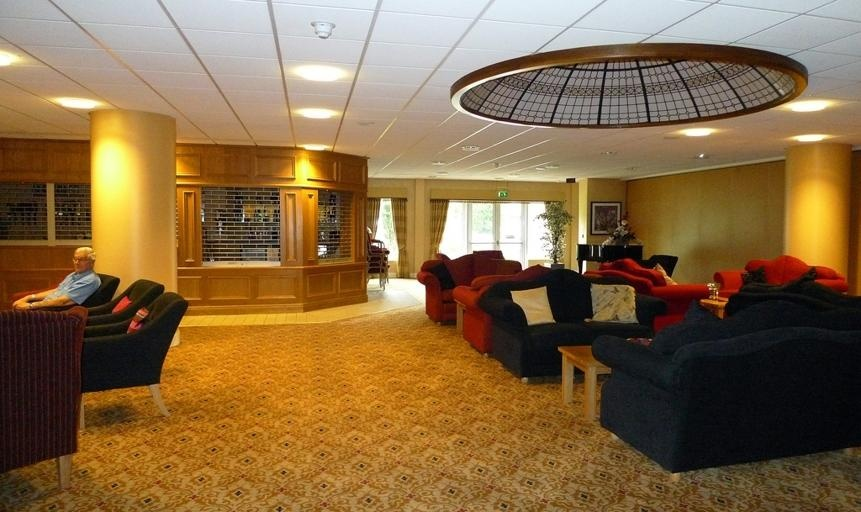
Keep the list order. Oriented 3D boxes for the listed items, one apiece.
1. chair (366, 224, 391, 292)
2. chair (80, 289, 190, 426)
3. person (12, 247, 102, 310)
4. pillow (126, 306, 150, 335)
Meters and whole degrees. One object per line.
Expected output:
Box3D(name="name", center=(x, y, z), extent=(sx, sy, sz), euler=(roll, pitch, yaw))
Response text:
Box3D(name="chair", center=(-1.435, 0.103, 15.004), extent=(0.929, 1.222, 2.191), euler=(-1, 5, -5))
Box3D(name="chair", center=(-3.278, 1.155, 6.045), extent=(1.030, 1.415, 0.523), euler=(-2, 9, -27))
Box3D(name="person", center=(-5.025, 0.268, 7.014), extent=(1.311, 0.670, 0.927), euler=(-2, 5, -33))
Box3D(name="pillow", center=(-3.250, 0.720, 6.134), extent=(0.166, 0.324, 0.091), euler=(37, -6, 20))
